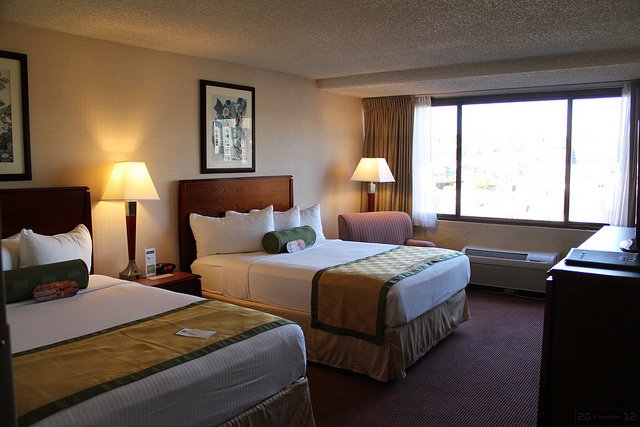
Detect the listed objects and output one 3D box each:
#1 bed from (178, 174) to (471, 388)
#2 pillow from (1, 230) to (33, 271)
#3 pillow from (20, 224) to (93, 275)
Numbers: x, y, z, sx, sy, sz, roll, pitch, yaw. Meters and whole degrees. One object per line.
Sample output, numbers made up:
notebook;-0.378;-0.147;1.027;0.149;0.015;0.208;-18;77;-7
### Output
bed;0.040;0.646;5.194;2.894;1.763;2.226;2;5;34
pillow;-2.585;0.331;3.665;0.151;0.351;0.353;3;-5;-11
pillow;-2.446;0.341;3.938;0.156;0.302;0.488;-16;-12;19
